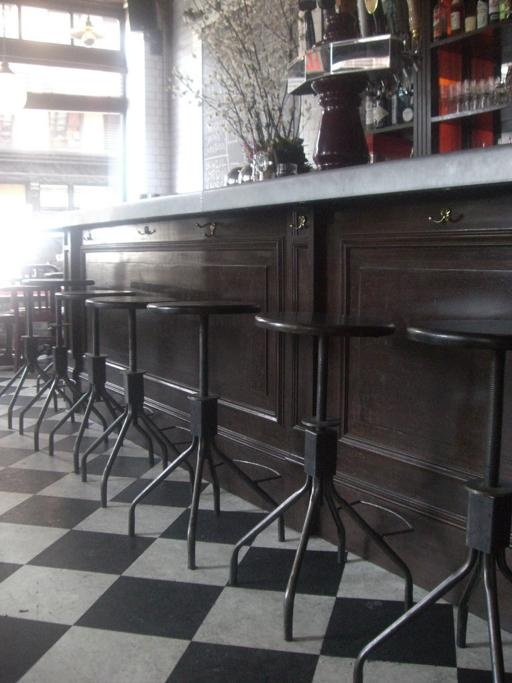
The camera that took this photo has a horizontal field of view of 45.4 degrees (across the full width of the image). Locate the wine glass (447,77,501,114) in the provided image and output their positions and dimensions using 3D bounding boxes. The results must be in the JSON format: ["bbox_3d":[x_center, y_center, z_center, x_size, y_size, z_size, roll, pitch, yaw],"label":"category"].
[{"bbox_3d":[1.196,-1.332,3.328,0.163,0.182,0.218,-16,8,-39],"label":"wine glass"}]

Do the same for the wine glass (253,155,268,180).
[{"bbox_3d":[0.006,-0.583,2.034,0.032,0.092,0.100,-2,4,-28],"label":"wine glass"}]

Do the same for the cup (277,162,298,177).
[{"bbox_3d":[0.096,-0.566,1.999,0.068,0.042,0.043,1,4,13],"label":"cup"}]
